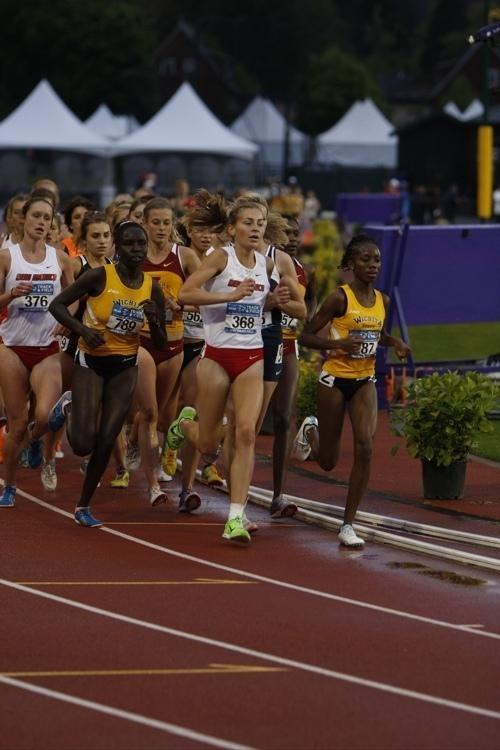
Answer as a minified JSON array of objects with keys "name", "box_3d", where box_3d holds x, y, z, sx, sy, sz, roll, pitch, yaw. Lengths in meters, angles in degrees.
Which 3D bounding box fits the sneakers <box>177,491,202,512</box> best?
[{"name":"sneakers","box_3d":[-0.477,1.004,5.702,0.108,0.122,0.260,9,-32,-17]}]

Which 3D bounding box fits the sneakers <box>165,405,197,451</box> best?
[{"name":"sneakers","box_3d":[-0.548,0.435,5.481,0.154,0.418,0.181,22,30,-12]}]

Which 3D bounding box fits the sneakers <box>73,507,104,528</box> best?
[{"name":"sneakers","box_3d":[-1.160,1.016,5.183,0.265,0.117,0.096,7,7,43]}]

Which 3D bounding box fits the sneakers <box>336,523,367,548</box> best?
[{"name":"sneakers","box_3d":[0.669,1.066,4.786,0.102,0.086,0.195,-2,0,-24]}]

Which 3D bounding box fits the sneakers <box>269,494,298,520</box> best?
[{"name":"sneakers","box_3d":[0.265,1.012,5.500,0.119,0.120,0.253,1,-12,-17]}]

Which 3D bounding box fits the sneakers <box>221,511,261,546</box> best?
[{"name":"sneakers","box_3d":[-0.047,1.004,4.679,0.114,0.232,0.343,3,-9,-23]}]

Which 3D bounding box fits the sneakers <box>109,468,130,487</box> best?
[{"name":"sneakers","box_3d":[-1.212,0.976,6.721,0.103,0.105,0.252,0,-2,3]}]

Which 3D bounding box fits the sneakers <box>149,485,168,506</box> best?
[{"name":"sneakers","box_3d":[-0.708,0.924,5.543,0.092,0.102,0.242,-24,-8,-17]}]

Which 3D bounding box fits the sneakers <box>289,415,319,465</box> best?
[{"name":"sneakers","box_3d":[0.476,0.609,6.207,0.148,0.425,0.183,31,55,16]}]

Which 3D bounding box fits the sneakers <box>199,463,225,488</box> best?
[{"name":"sneakers","box_3d":[-0.331,0.946,6.779,0.141,0.156,0.378,1,-1,-24]}]
